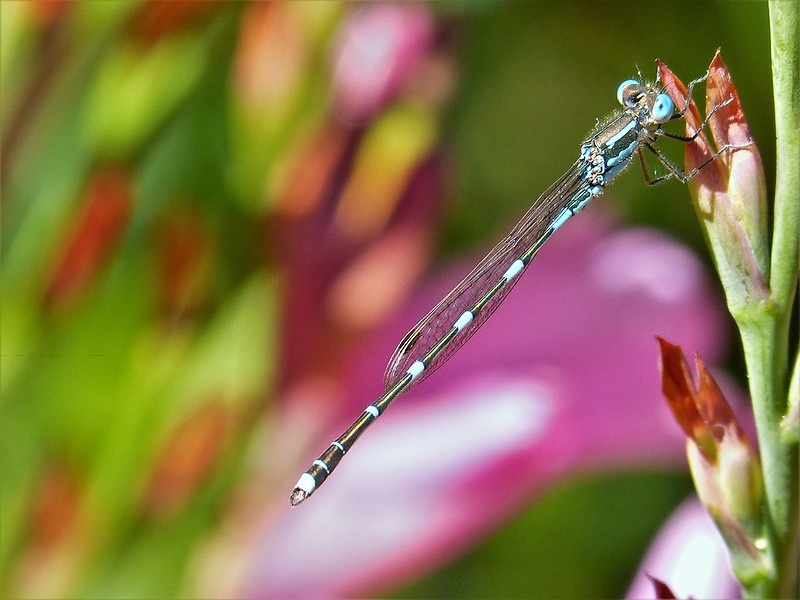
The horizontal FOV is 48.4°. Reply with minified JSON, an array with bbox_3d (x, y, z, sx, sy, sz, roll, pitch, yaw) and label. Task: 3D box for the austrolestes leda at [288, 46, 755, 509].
[{"bbox_3d":[0.121,0.001,1.204,0.142,0.285,0.716,44,84,12],"label":"austrolestes leda"}]
